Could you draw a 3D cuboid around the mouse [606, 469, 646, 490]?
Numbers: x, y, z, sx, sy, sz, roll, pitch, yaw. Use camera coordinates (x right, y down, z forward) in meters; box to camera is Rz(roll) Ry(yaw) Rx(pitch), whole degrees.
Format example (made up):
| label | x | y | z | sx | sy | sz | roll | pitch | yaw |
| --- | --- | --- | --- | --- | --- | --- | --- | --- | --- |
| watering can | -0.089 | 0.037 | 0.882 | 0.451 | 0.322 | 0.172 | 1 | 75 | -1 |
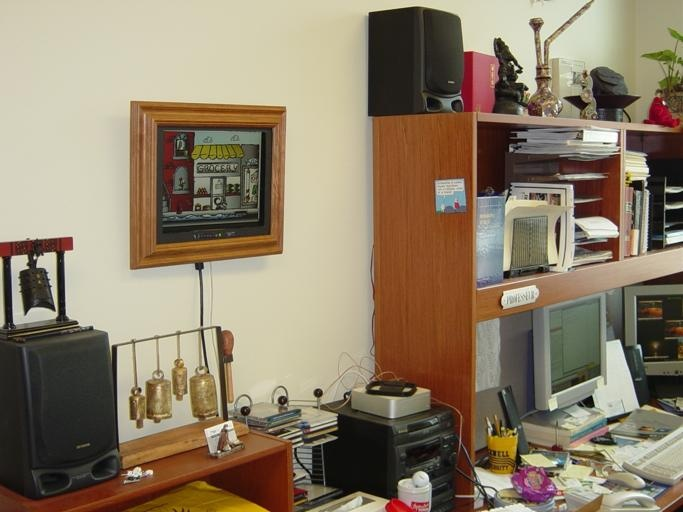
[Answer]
| label | x | y | z | sx | sy | sz | roll | pitch | yaw |
| --- | --- | --- | --- | --- | --- | --- | --- | --- | --- |
| mouse | 1.040 | 0.808 | 2.161 | 0.075 | 0.041 | 0.129 | -1 | -4 | -36 |
